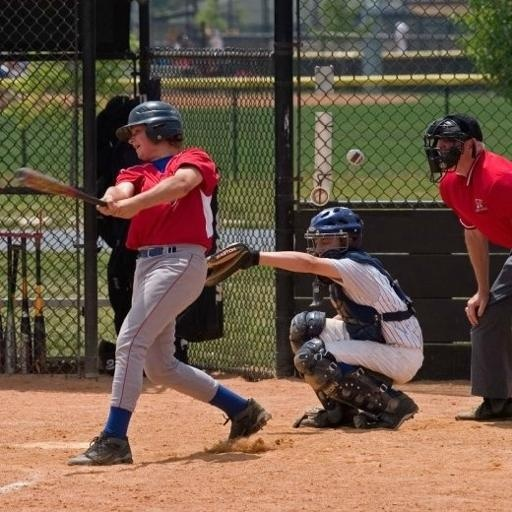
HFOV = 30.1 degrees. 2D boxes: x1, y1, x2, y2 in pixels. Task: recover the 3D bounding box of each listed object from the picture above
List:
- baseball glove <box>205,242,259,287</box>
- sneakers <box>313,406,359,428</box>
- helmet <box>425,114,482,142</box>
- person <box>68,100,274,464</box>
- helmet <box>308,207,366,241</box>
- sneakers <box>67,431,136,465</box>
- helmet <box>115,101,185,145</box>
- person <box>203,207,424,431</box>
[{"bbox_3d":[-0.150,0.042,5.307,0.309,0.126,0.208,-28,-7,27],"label":"baseball glove"},{"bbox_3d":[0.488,0.972,5.785,0.200,0.078,0.141,0,-2,12],"label":"sneakers"},{"bbox_3d":[1.222,-0.784,5.801,0.268,0.096,0.184,4,0,-9],"label":"helmet"},{"bbox_3d":[-0.493,0.122,5.085,0.568,1.905,0.852,1,2,30],"label":"person"},{"bbox_3d":[0.488,-0.204,5.747,0.277,0.177,0.195,-7,13,-17],"label":"helmet"},{"bbox_3d":[-0.794,1.000,4.927,0.374,0.149,0.129,3,0,-41],"label":"sneakers"},{"bbox_3d":[-0.565,-0.723,5.155,0.369,0.186,0.234,-3,-2,-10],"label":"helmet"},{"bbox_3d":[0.328,0.397,5.880,1.609,1.311,0.793,3,-2,-8],"label":"person"}]
